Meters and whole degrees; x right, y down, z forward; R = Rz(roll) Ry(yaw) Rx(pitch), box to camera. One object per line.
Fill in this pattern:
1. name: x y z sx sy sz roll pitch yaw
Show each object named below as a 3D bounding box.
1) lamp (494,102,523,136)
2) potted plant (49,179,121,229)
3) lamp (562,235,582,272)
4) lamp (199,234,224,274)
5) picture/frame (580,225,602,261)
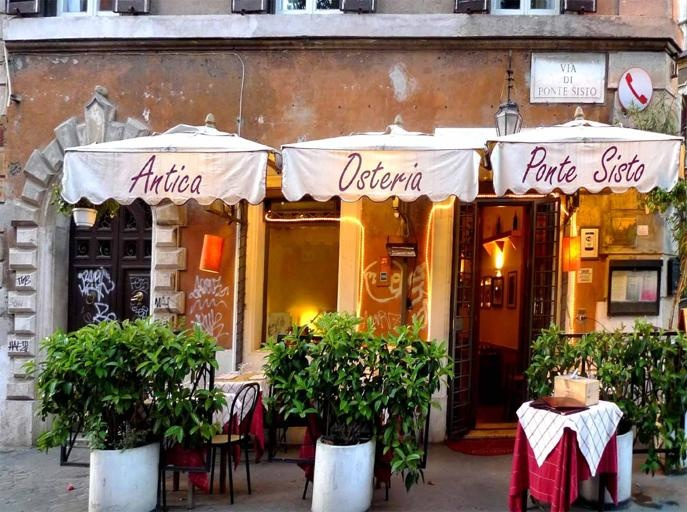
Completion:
1. lamp: 2.257 -1.902 12.426 0.331 0.516 0.404 0 -2 10
2. potted plant: -3.763 -0.710 13.078 0.739 0.617 0.606 3 -18 6
3. lamp: 3.350 -0.118 13.422 0.290 0.555 0.282 5 22 23
4. lamp: -2.005 -0.050 13.697 0.351 0.581 0.426 0 -2 -8
5. picture/frame: 3.645 -0.221 13.337 0.415 0.683 0.068 0 -3 1
